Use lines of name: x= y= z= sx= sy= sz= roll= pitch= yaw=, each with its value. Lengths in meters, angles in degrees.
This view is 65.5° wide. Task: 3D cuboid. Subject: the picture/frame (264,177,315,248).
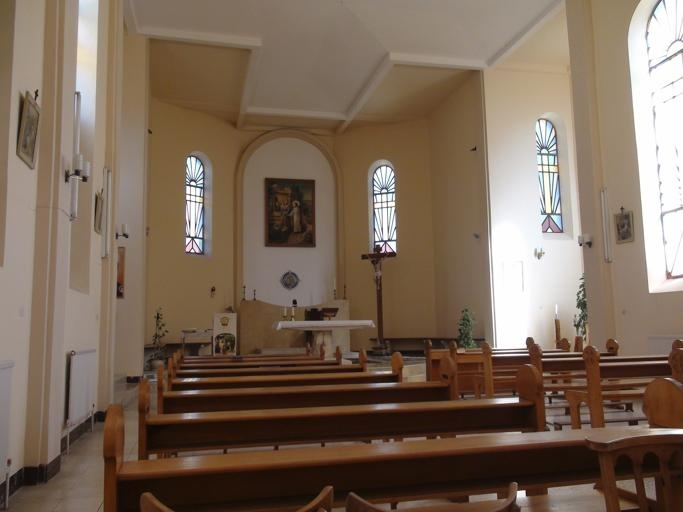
picture/frame: x=-1.545 y=-1.165 z=14.996 sx=1.628 sy=2.449 sz=0.149 roll=2 pitch=-8 yaw=-18

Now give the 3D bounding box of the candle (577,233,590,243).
candle: x=3.906 y=-0.276 z=8.616 sx=0.120 sy=0.162 sz=0.233 roll=2 pitch=-5 yaw=-28

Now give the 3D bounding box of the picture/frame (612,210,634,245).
picture/frame: x=4.336 y=-0.464 z=8.166 sx=0.026 sy=0.546 sz=0.305 roll=2 pitch=-5 yaw=-27

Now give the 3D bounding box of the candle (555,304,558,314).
candle: x=4.725 y=1.168 z=11.686 sx=0.051 sy=0.219 sz=0.177 roll=-2 pitch=-5 yaw=21
